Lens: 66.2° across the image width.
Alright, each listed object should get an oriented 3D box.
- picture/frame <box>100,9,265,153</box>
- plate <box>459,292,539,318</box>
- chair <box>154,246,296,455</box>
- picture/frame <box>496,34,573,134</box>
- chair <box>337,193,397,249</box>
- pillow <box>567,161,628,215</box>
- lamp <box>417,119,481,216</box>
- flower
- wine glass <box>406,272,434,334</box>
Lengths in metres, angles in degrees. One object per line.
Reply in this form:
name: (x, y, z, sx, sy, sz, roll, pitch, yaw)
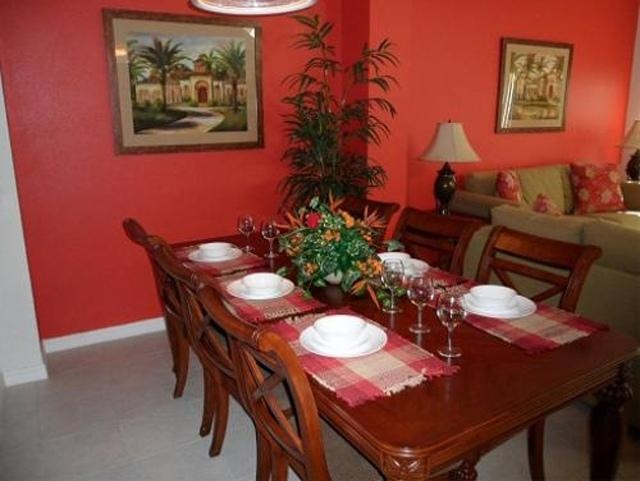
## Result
picture/frame: (-1.140, -1.286, 3.875, 1.102, 0.972, 0.058, -10, 23, -29)
plate: (0.837, 0.310, 2.212, 0.201, 0.031, 0.202, 0, 18, 1)
chair: (-0.457, 0.525, 2.397, 0.689, 1.024, 0.645, -15, 33, -30)
picture/frame: (2.440, -1.735, 5.575, 1.112, 0.982, 0.039, -7, 15, -26)
chair: (0.328, -0.098, 3.359, 0.378, 0.346, 0.517, 6, 13, 37)
pillow: (3.031, -0.572, 5.317, 0.555, 0.539, 0.173, 0, -5, -7)
lamp: (1.165, -0.664, 4.504, 0.547, 0.831, 0.555, 8, 20, 26)
flower: (0.084, 0.062, 2.568, 0.667, 0.497, 0.622, -2, -12, 9)
wine glass: (0.440, 0.280, 2.134, 0.129, 0.290, 0.135, -7, 23, -10)
